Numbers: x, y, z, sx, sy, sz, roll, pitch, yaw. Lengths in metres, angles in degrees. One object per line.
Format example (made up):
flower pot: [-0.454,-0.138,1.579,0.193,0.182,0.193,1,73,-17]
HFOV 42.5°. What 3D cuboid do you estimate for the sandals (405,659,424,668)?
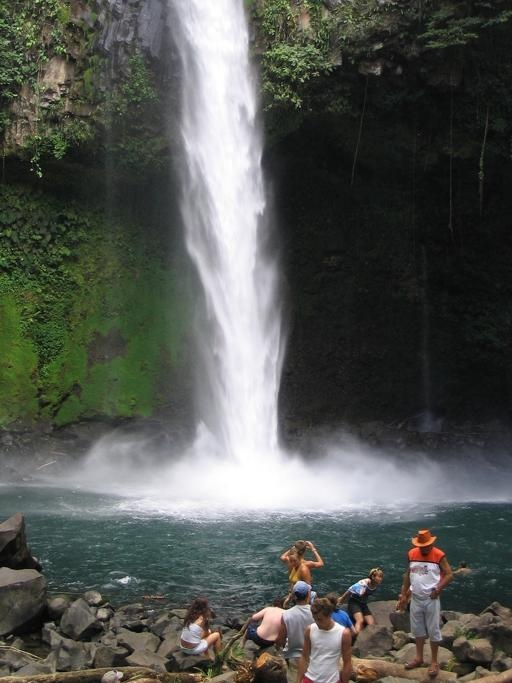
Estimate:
sandals: [1.620,3.293,6.715,0.183,0.074,0.065,2,-15,-14]

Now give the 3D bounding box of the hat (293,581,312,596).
hat: [0.465,2.428,6.503,0.106,0.078,0.154,4,27,17]

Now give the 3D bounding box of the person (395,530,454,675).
person: [1.825,2.696,7.090,0.480,1.413,1.060,2,-2,13]

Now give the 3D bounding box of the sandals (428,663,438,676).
sandals: [1.773,3.282,6.562,0.097,0.123,0.075,2,-2,16]
